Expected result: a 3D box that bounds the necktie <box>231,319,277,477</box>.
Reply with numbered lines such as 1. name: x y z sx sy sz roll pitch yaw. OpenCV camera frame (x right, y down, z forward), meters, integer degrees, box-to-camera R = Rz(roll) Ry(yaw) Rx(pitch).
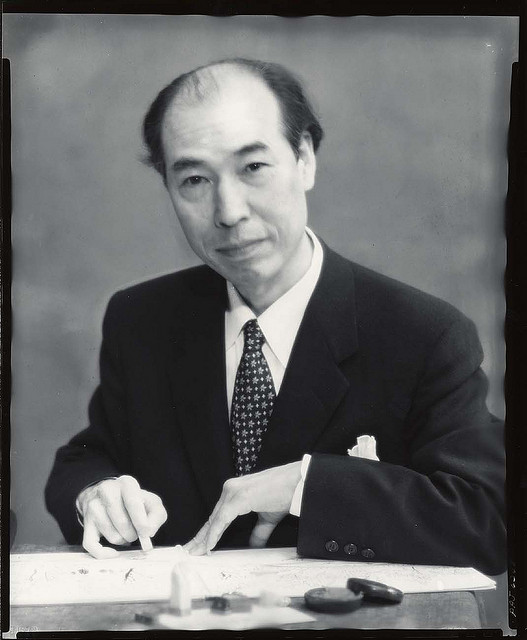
1. necktie: -0.038 0.213 2.452 0.139 0.417 0.083 -8 5 -18
